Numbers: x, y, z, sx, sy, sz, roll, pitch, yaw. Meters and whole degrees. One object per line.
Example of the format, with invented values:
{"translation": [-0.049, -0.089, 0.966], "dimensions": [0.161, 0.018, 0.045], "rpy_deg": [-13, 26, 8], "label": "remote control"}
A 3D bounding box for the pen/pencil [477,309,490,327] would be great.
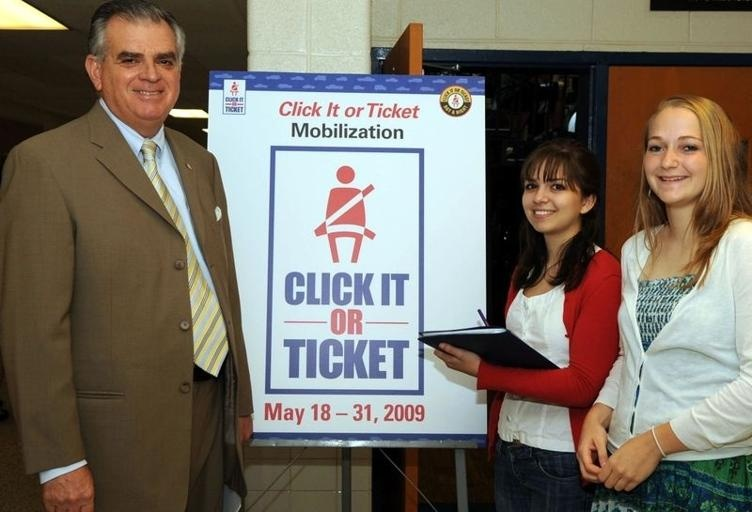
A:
{"translation": [0.475, 0.284, 3.537], "dimensions": [0.020, 0.131, 0.025], "rpy_deg": [8, 45, 45], "label": "pen/pencil"}
